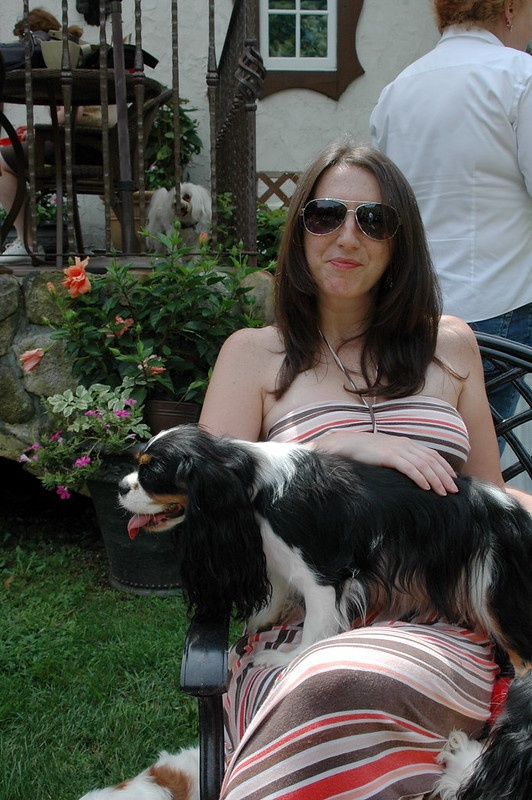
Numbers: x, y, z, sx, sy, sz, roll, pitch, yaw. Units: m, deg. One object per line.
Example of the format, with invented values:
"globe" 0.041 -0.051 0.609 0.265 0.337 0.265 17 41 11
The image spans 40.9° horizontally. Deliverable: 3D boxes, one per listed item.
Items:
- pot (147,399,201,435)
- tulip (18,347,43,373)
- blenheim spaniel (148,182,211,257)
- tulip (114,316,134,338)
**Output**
"pot" -0.422 0.064 3.277 0.214 0.128 0.203 0 1 0
"tulip" -1.116 -0.183 3.414 0.106 0.149 0.276 0 11 -19
"blenheim spaniel" -0.755 -1.779 6.679 0.566 0.530 0.832 1 21 -2
"tulip" -0.676 -0.351 3.406 0.060 0.098 0.110 7 12 19
